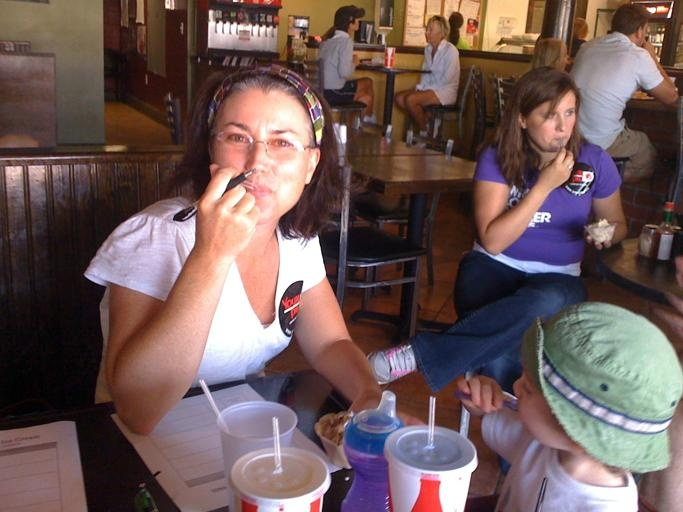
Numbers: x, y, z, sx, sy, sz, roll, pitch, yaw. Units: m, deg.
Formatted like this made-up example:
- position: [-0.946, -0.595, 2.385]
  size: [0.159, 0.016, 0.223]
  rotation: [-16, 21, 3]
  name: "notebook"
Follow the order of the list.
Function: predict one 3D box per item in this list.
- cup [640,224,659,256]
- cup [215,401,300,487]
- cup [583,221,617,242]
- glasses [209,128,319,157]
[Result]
- position: [1.259, -0.060, 2.142]
  size: [0.070, 0.116, 0.067]
  rotation: [-1, 15, 0]
  name: "cup"
- position: [-0.137, 0.297, 0.868]
  size: [0.111, 0.087, 0.110]
  rotation: [8, -2, 0]
  name: "cup"
- position: [1.105, -0.101, 2.239]
  size: [0.090, 0.074, 0.104]
  rotation: [-2, 4, -22]
  name: "cup"
- position: [-0.174, -0.246, 1.168]
  size: [0.211, 0.056, 0.086]
  rotation: [-2, 14, -15]
  name: "glasses"
